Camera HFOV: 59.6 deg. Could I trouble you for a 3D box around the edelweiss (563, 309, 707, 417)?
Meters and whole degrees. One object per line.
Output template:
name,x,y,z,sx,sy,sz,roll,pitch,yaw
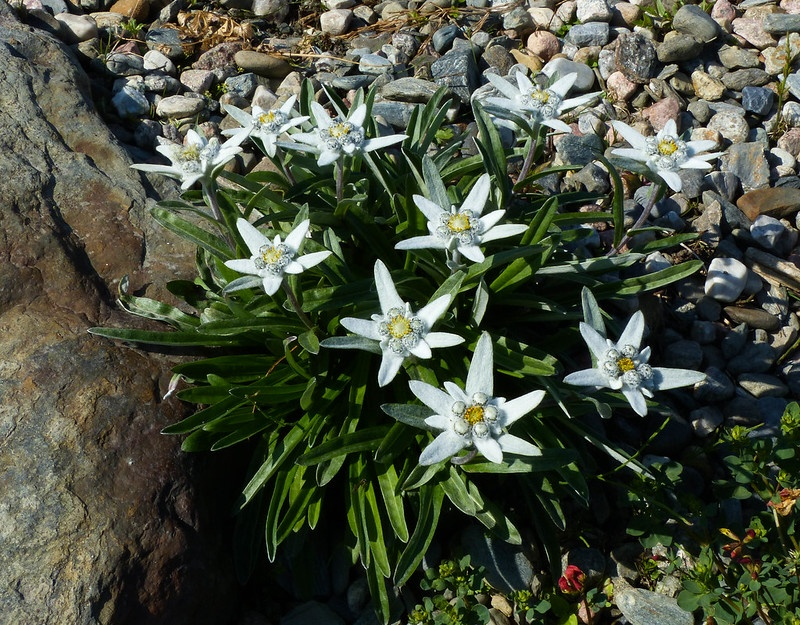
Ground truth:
edelweiss,1.163,0.294,3.554,0.606,0.591,0.176,21,-21,9

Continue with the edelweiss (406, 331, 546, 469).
edelweiss,0.374,0.467,3.392,0.643,0.622,0.218,-17,-43,10

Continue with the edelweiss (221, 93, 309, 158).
edelweiss,-0.789,-1.118,4.151,0.442,0.467,0.142,-8,-43,2

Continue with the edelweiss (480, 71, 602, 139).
edelweiss,0.829,-1.248,4.105,0.555,0.560,0.200,-20,-42,-22

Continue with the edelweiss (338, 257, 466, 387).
edelweiss,0.025,0.072,3.546,0.677,0.626,0.206,-18,-39,-23

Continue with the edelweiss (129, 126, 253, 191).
edelweiss,-1.128,-0.806,3.921,0.557,0.276,0.550,-20,10,-18

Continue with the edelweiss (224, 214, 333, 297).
edelweiss,-0.609,-0.278,3.618,0.557,0.438,0.224,-1,-20,13

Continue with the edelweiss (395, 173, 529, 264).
edelweiss,0.317,-0.498,3.702,0.639,0.541,0.295,3,-19,0
